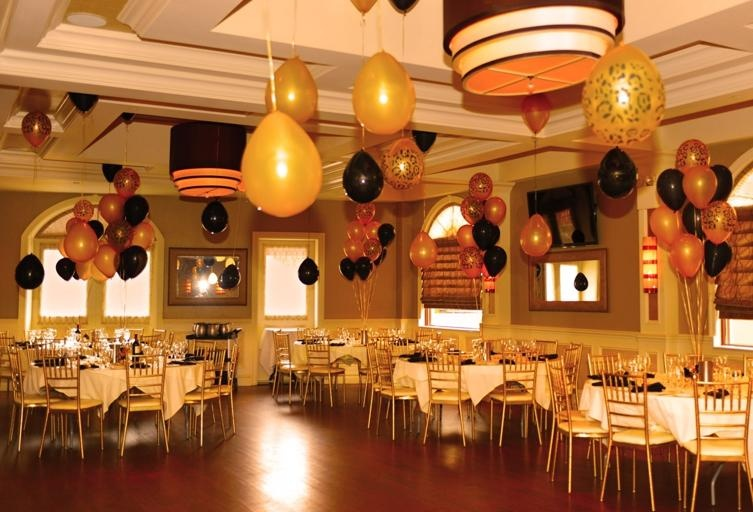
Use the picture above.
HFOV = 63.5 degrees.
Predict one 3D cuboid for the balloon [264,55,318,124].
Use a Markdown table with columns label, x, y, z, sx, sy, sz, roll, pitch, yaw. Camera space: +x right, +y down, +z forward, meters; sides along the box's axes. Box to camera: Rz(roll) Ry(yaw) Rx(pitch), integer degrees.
| label | x | y | z | sx | sy | sz | roll | pitch | yaw |
| --- | --- | --- | --- | --- | --- | --- | --- | --- | --- |
| balloon | -0.696 | -1.326 | 4.996 | 0.424 | 0.581 | 0.421 | -6 | -3 | 44 |

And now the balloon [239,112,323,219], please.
| label | x | y | z | sx | sy | sz | roll | pitch | yaw |
| --- | --- | --- | --- | --- | --- | --- | --- | --- | --- |
| balloon | -0.467 | -0.530 | 3.559 | 0.480 | 0.730 | 0.510 | -1 | 8 | -2 |

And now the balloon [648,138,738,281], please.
| label | x | y | z | sx | sy | sz | roll | pitch | yaw |
| --- | --- | --- | --- | --- | --- | --- | --- | --- | --- |
| balloon | 4.169 | -0.603 | 7.984 | 0.931 | 1.729 | 1.388 | 0 | 0 | 35 |

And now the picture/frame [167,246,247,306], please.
| label | x | y | z | sx | sy | sz | roll | pitch | yaw |
| --- | --- | --- | --- | --- | --- | --- | --- | --- | --- |
| picture/frame | -3.793 | 0.469 | 13.314 | 1.170 | 0.987 | 0.056 | 0 | -2 | -3 |

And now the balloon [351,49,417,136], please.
| label | x | y | z | sx | sy | sz | roll | pitch | yaw |
| --- | --- | --- | --- | --- | --- | --- | --- | --- | --- |
| balloon | 0.034 | -1.200 | 4.508 | 0.453 | 0.649 | 0.455 | 4 | -1 | -45 |

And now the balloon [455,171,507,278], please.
| label | x | y | z | sx | sy | sz | roll | pitch | yaw |
| --- | --- | --- | --- | --- | --- | --- | --- | --- | --- |
| balloon | 1.700 | -0.475 | 9.922 | 0.728 | 1.717 | 1.016 | 0 | 0 | 6 |

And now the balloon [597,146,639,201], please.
| label | x | y | z | sx | sy | sz | roll | pitch | yaw |
| --- | --- | --- | --- | --- | --- | --- | --- | --- | --- |
| balloon | 2.510 | -0.867 | 6.582 | 0.463 | 0.736 | 0.481 | 4 | 4 | 35 |

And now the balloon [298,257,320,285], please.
| label | x | y | z | sx | sy | sz | roll | pitch | yaw |
| --- | --- | --- | --- | --- | --- | --- | --- | --- | --- |
| balloon | -1.422 | 0.294 | 12.436 | 0.493 | 0.746 | 0.518 | 0 | 4 | -16 |
